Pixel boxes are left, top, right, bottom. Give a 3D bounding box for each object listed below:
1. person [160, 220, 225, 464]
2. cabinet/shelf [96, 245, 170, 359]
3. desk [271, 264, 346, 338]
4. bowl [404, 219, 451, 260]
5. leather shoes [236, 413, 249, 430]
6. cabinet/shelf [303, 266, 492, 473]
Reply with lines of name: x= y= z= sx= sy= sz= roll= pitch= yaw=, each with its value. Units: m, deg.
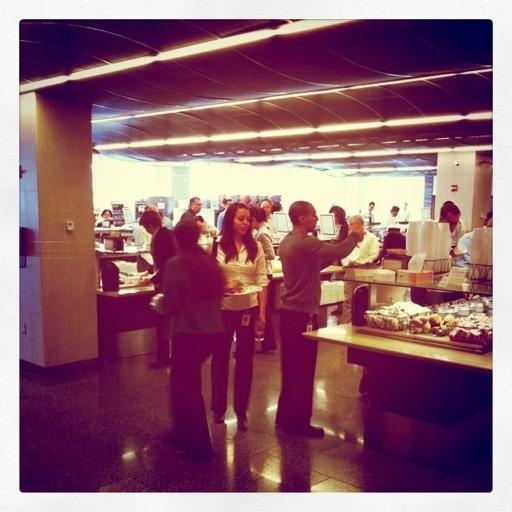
person: x=-0.390 y=0.552 z=2.825 sx=0.345 sy=1.530 sz=0.452 roll=1 pitch=5 yaw=-11
cabinet/shelf: x=-1.303 y=0.405 z=4.752 sx=0.969 sy=0.625 sz=0.952 roll=-7 pitch=11 yaw=-39
desk: x=0.449 y=0.423 z=4.299 sx=0.724 sy=0.732 sz=0.531 roll=1 pitch=-11 yaw=-13
bowl: x=1.044 y=-0.096 z=2.820 sx=0.277 sy=0.230 sz=0.186 roll=3 pitch=5 yaw=11
leather shoes: x=-0.100 y=1.190 z=3.324 sx=0.048 sy=0.113 sz=0.114 roll=3 pitch=-27 yaw=-9
cabinet/shelf: x=0.904 y=0.585 z=2.744 sx=1.086 sy=0.856 sz=1.062 roll=4 pitch=5 yaw=42
